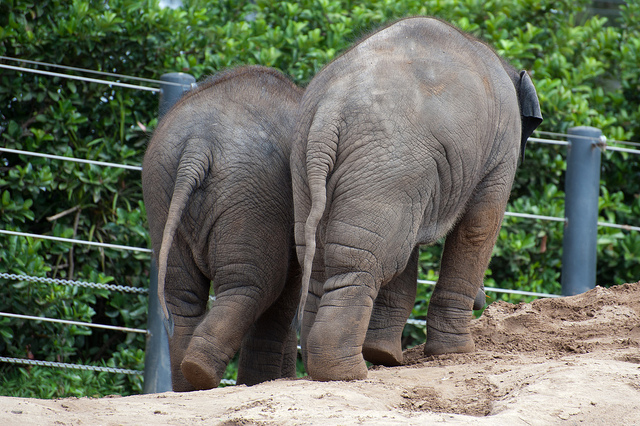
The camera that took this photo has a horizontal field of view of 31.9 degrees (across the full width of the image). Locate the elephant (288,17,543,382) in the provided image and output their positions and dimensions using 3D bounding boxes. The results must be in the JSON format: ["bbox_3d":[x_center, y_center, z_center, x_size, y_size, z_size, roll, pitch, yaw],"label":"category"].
[{"bbox_3d":[0.765,-0.182,7.451,1.052,2.357,2.662,13,12,36],"label":"elephant"}]

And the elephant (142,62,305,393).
[{"bbox_3d":[-0.595,0.150,7.059,1.007,2.084,0.776,-4,12,-10],"label":"elephant"}]
